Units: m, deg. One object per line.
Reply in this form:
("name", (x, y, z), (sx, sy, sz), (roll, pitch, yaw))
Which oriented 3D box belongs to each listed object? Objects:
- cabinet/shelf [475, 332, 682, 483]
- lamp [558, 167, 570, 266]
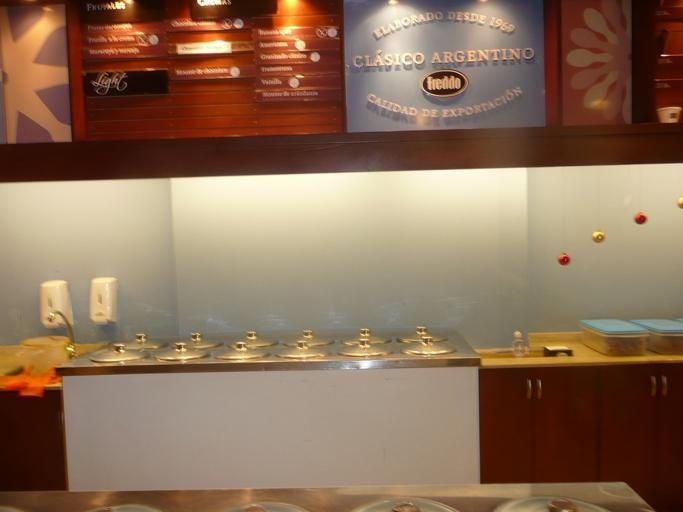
("cabinet/shelf", (1.470, 1.095, 4.485), (1.502, 1.276, 0.828), (0, 6, 0))
("lamp", (1.639, -0.236, 4.642), (0.088, 0.626, 0.234), (-2, 2, 19))
